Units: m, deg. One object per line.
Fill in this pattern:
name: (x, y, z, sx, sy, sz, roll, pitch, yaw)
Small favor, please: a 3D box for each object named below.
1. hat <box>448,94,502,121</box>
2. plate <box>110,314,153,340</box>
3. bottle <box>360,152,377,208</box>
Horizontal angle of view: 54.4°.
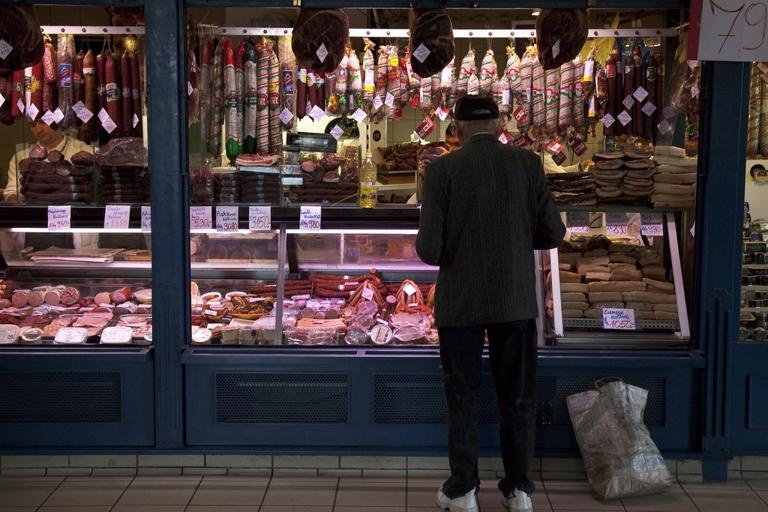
hat: (0.605, -0.980, 4.885, 0.328, 0.150, 0.425, 1, 12, -1)
plate: (-1.815, 0.510, 5.392, 0.202, 0.046, 0.199, 7, 36, -18)
bottle: (-0.111, -0.558, 5.512, 0.123, 0.397, 0.199, -1, 5, 14)
